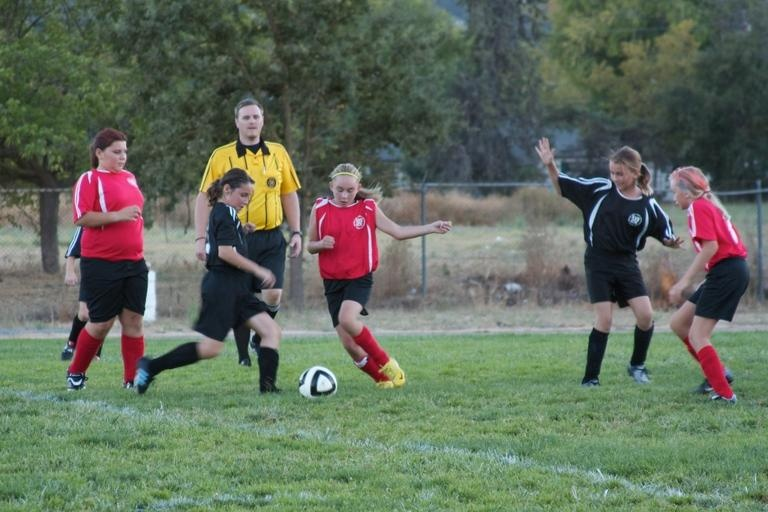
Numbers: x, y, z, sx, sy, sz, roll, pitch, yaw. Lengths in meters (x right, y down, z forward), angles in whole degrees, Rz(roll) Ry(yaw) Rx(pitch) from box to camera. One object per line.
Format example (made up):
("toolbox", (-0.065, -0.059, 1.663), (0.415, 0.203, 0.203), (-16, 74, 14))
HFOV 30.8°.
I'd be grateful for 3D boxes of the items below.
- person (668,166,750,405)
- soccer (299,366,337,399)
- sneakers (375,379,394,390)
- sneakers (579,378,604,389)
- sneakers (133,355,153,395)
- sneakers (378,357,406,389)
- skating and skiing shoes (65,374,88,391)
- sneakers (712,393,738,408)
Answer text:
("person", (4.919, 0.382, 21.051), (1.175, 3.322, 1.413), (-7, 16, -23))
("soccer", (-0.994, 1.974, 21.430), (0.594, 0.569, 0.599), (-1, -10, 21))
("sneakers", (0.025, 1.965, 21.483), (0.284, 0.120, 0.109), (0, -4, 4))
("sneakers", (3.208, 1.927, 21.452), (0.306, 0.095, 0.168), (0, 14, 3))
("sneakers", (-3.640, 1.805, 21.213), (0.265, 0.593, 0.215), (7, 8, 0))
("sneakers", (0.169, 1.822, 21.529), (0.255, 0.573, 0.224), (-9, -32, -46))
("skating and skiing shoes", (-4.717, 1.933, 21.420), (0.215, 0.196, 0.269), (3, 0, -6))
("sneakers", (5.099, 2.145, 20.828), (0.398, 0.163, 0.143), (10, 0, 7))
